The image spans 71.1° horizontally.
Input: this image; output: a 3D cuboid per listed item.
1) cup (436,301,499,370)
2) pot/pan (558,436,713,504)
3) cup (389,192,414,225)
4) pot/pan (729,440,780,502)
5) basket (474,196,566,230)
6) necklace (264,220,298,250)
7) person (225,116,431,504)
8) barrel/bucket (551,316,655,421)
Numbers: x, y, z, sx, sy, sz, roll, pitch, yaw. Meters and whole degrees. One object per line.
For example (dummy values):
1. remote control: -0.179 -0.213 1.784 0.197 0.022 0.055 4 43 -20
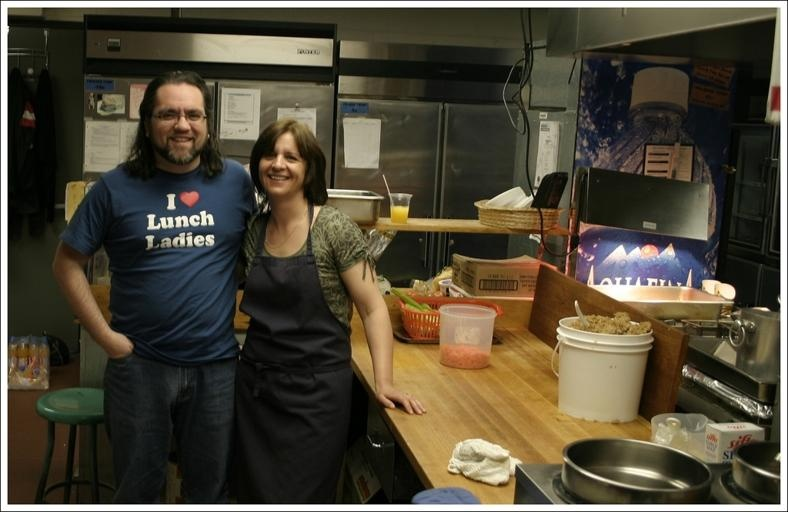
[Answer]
1. cup: 0.342 0.355 2.568 0.290 0.239 0.278 1 8 0
2. pot/pan: 0.597 0.537 1.391 0.191 0.041 0.182 -1 9 -5
3. cup: 0.027 -0.266 3.094 0.184 0.189 0.165 1 2 -3
4. pot/pan: 0.837 0.504 1.301 0.115 0.042 0.113 5 14 30
5. basket: 0.655 -0.212 2.936 0.440 0.142 0.176 5 13 16
6. necklace: -0.446 -0.076 2.111 0.110 0.101 0.025 16 3 20
7. person: -0.318 0.244 2.139 0.673 1.502 0.553 0 14 -6
8. barrel/bucket: 0.748 0.411 2.167 0.399 0.301 0.343 -1 7 -17
